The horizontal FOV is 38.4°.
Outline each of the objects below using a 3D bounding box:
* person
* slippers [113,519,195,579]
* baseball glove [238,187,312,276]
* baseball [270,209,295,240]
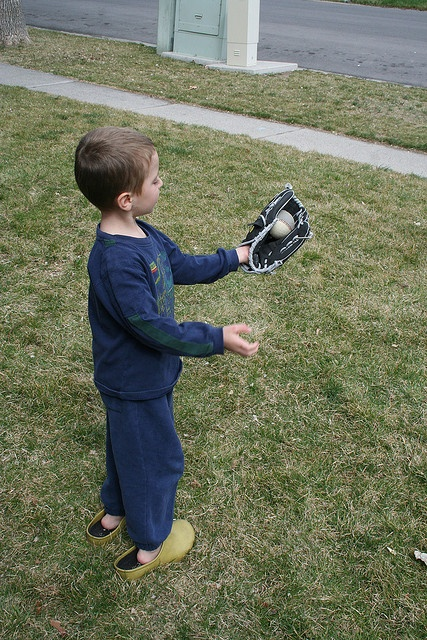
[{"bbox_3d":[-0.179,0.167,1.976,0.520,1.493,0.501,-4,22,-13],"label":"person"},{"bbox_3d":[-0.205,0.826,2.217,0.273,0.072,0.127,-28,48,-31],"label":"slippers"},{"bbox_3d":[0.231,-0.315,2.259,0.356,0.237,0.116,-46,15,-25],"label":"baseball glove"},{"bbox_3d":[0.256,-0.349,2.268,0.100,0.107,0.097,18,11,16],"label":"baseball"}]
